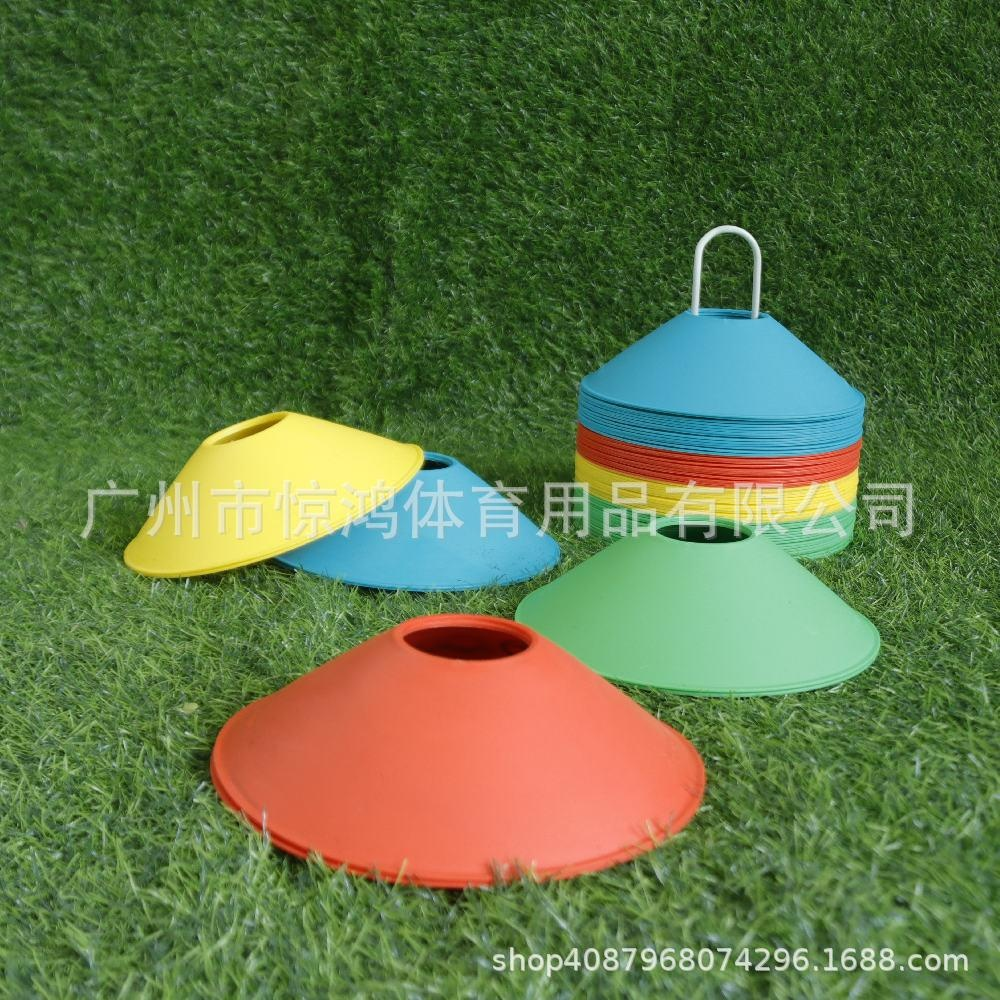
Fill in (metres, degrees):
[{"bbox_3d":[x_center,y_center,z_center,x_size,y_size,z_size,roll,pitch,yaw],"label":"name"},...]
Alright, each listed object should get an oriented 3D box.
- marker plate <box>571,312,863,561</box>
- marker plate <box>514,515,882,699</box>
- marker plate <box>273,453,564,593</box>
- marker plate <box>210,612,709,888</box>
[{"bbox_3d":[0.523,-0.153,3.050,0.706,0.418,0.617,2,15,6],"label":"marker plate"},{"bbox_3d":[0.401,0.211,2.276,0.462,0.106,0.411,-5,11,-30],"label":"marker plate"},{"bbox_3d":[-0.134,0.072,2.733,0.412,0.097,0.379,-6,12,-39],"label":"marker plate"},{"bbox_3d":[-0.035,0.361,1.750,0.510,0.106,0.448,-5,15,-26],"label":"marker plate"}]
